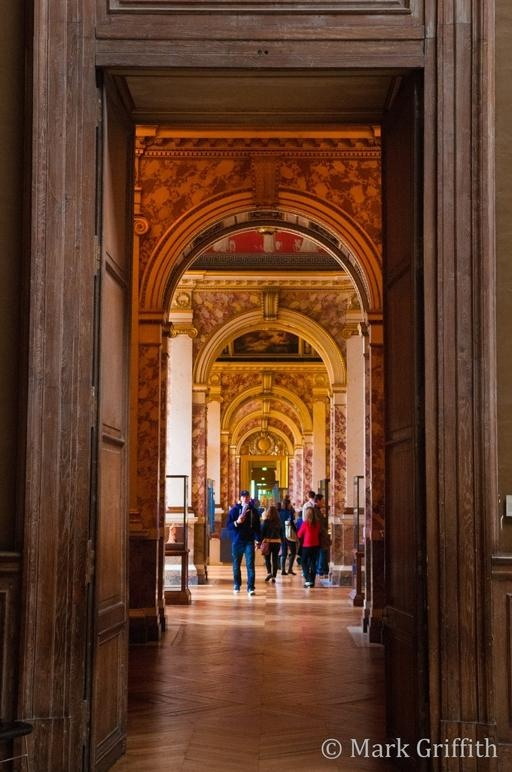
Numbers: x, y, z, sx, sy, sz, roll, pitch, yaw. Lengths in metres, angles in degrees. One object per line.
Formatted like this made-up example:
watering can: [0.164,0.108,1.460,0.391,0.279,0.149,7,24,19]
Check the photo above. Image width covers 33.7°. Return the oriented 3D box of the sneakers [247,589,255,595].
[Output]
sneakers: [-0.077,3.301,13.517,0.099,0.150,0.323,0,-12,-4]
